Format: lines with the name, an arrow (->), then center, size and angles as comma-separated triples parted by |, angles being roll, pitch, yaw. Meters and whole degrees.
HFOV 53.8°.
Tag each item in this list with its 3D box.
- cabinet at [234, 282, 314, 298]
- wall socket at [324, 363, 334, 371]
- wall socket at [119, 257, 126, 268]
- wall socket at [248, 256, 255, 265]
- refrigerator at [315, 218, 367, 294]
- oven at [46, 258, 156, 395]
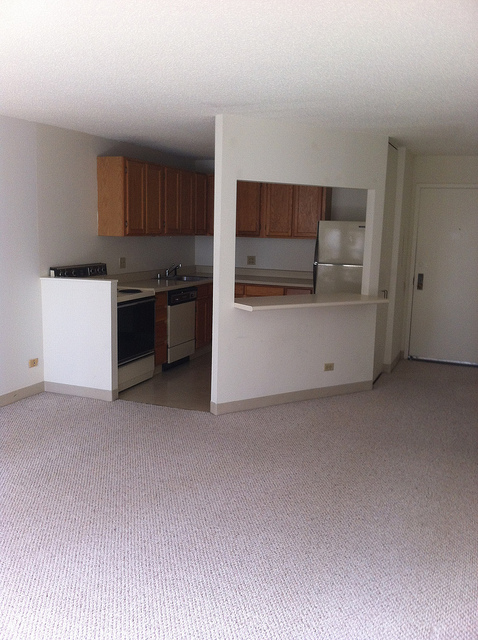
cabinet -> 0.388, -0.346, 5.851 | 1.060, 0.220, 0.129 | 10, 15, 31
wall socket -> 0.872, 0.454, 4.578 | 0.073, 0.055, 0.010 | -6, 15, -26
wall socket -> -1.348, -0.664, 5.436 | 0.021, 0.173, 0.114 | 2, -4, 17
wall socket -> 0.180, -0.849, 6.659 | 0.101, 0.130, 0.012 | 5, 16, 21
refrigerator -> 1.097, -0.647, 5.132 | 0.524, 1.033, 0.379 | 7, 34, 14
oven -> -1.406, -0.094, 5.279 | 1.074, 1.904, 1.266 | 1, 9, 11
